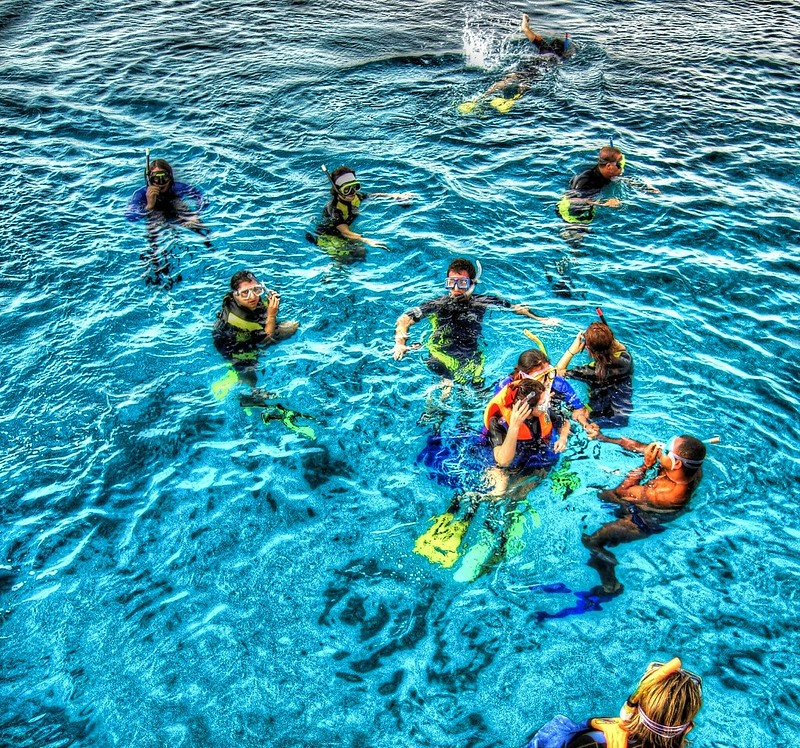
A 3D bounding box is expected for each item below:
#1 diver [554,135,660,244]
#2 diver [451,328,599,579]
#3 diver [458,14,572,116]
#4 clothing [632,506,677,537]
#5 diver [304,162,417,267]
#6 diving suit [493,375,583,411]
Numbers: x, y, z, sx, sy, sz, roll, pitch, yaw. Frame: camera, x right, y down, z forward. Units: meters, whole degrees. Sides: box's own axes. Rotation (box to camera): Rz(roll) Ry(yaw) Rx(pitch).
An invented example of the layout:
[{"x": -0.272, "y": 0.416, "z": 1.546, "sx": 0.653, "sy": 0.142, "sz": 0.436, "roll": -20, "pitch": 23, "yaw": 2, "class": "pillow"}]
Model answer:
[{"x": 3.598, "y": -3.128, "z": 14.196, "sx": 1.645, "sy": 2.120, "sz": 1.066, "roll": 7, "pitch": 55, "yaw": 18, "class": "diver"}, {"x": 1.297, "y": 1.128, "z": 9.702, "sx": 1.258, "sy": 1.305, "sz": 2.951, "roll": 36, "pitch": 66, "yaw": -13, "class": "diver"}, {"x": 3.020, "y": -7.570, "z": 19.116, "sx": 2.019, "sy": 0.594, "sz": 1.684, "roll": -7, "pitch": 101, "yaw": -16, "class": "diver"}, {"x": 2.944, "y": 1.703, "z": 9.448, "sx": 0.449, "sy": 0.144, "sz": 0.305, "roll": -10, "pitch": 36, "yaw": -14, "class": "clothing"}, {"x": -0.651, "y": -2.575, "z": 13.588, "sx": 1.404, "sy": 2.052, "sz": 0.752, "roll": 12, "pitch": 51, "yaw": 12, "class": "diver"}, {"x": 1.858, "y": 0.283, "z": 10.201, "sx": 0.660, "sy": 0.627, "sz": 0.227, "roll": -26, "pitch": 78, "yaw": -34, "class": "diving suit"}]
